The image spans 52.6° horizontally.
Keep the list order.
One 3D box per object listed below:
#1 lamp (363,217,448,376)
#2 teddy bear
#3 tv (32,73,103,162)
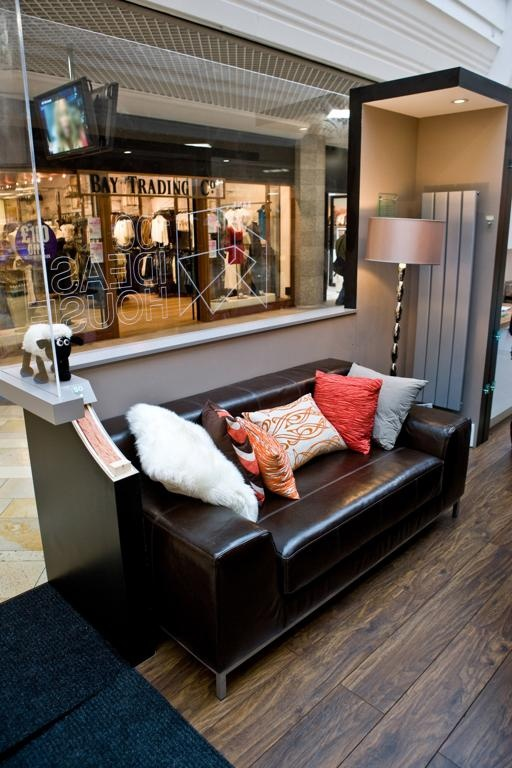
[{"bbox_3d":[1.002,-0.576,3.604,0.514,1.073,0.753,4,11,18],"label":"lamp"},{"bbox_3d":[-0.657,-0.100,1.650,0.204,0.180,0.147,11,13,38],"label":"teddy bear"},{"bbox_3d":[-0.808,-1.139,2.267,0.277,0.270,0.094,-1,16,27],"label":"tv"}]
